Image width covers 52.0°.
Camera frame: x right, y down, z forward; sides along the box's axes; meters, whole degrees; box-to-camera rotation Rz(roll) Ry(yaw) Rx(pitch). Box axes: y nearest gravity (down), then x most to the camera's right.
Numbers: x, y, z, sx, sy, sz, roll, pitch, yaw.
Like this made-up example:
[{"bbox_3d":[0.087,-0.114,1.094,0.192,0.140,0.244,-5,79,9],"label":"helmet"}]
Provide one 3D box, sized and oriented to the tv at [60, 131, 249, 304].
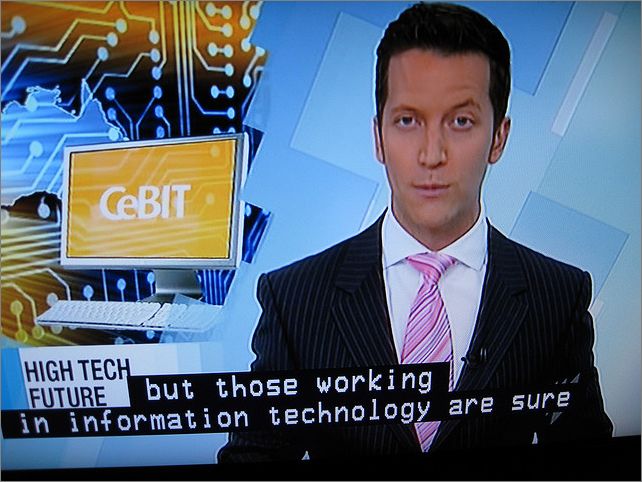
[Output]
[{"bbox_3d":[-0.695,-0.152,2.940,0.965,0.810,0.500,2,-3,3],"label":"tv"}]
